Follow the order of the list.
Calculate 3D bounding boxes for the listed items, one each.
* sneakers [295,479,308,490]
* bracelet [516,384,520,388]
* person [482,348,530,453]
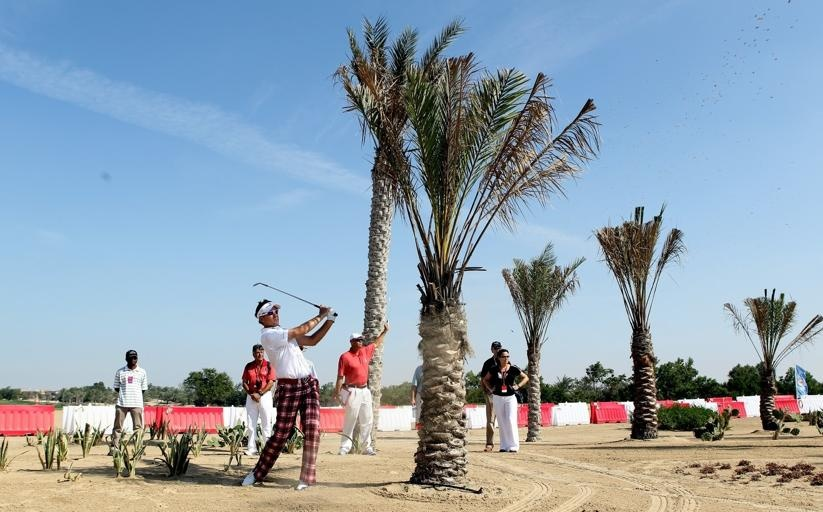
[{"bbox_3d":[-2.302,4.734,13.418,0.274,0.262,0.124,22,-34,-39],"label":"sneakers"},{"bbox_3d":[3.028,3.673,18.434,0.069,0.097,0.024,-5,19,-13],"label":"bracelet"},{"bbox_3d":[2.683,4.134,18.541,1.138,2.907,1.029,-5,-11,32],"label":"person"}]
